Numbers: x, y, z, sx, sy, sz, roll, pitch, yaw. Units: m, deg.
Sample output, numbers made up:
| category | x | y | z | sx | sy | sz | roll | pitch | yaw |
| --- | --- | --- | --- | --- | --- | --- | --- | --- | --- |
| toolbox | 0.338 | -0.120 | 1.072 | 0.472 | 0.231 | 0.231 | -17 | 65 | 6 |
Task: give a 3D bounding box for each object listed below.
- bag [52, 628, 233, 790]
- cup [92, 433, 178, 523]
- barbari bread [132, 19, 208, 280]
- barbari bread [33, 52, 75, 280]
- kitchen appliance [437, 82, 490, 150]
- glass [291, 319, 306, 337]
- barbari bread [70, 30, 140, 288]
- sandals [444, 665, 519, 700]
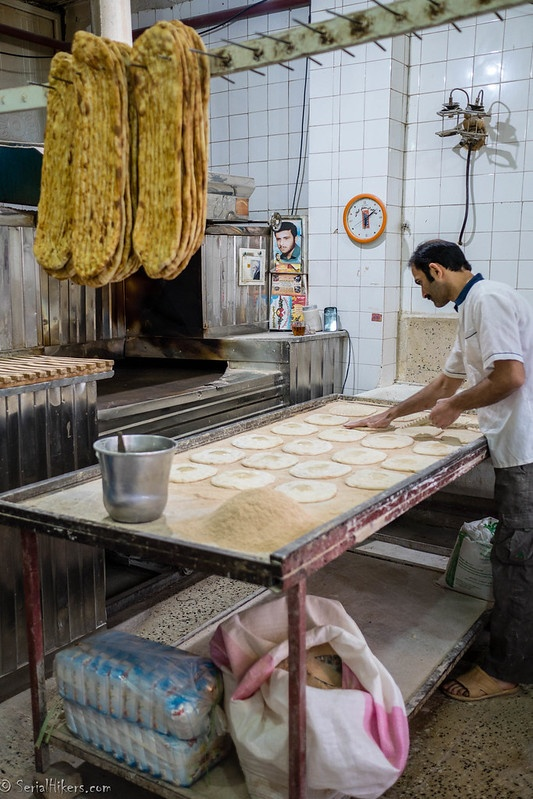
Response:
| category | x | y | z | sx | sy | sz | roll | pitch | yaw |
| --- | --- | --- | --- | --- | --- | --- | --- | --- | --- |
| bag | -0.292 | 0.618 | 1.416 | 0.466 | 0.274 | 0.243 | 5 | 16 | 37 |
| cup | -0.287 | 0.170 | 1.308 | 0.194 | 0.171 | 0.190 | 1 | 11 | 0 |
| barbari bread | -0.206 | -0.534 | 1.248 | 0.165 | 0.536 | 0.143 | 2 | 4 | -6 |
| barbari bread | -0.485 | -0.548 | 1.368 | 0.082 | 0.505 | 0.233 | 0 | 5 | -26 |
| kitchen appliance | 1.250 | -1.786 | 3.685 | 0.349 | 0.416 | 0.277 | 17 | 32 | 40 |
| glass | 0.222 | -0.485 | 4.007 | 0.095 | 0.105 | 0.095 | 0 | 0 | -4 |
| barbari bread | -0.366 | -0.523 | 1.306 | 0.160 | 0.524 | 0.214 | 2 | 4 | -5 |
| sandals | 0.783 | 1.015 | 2.129 | 0.229 | 0.084 | 0.113 | 0 | 3 | -6 |
